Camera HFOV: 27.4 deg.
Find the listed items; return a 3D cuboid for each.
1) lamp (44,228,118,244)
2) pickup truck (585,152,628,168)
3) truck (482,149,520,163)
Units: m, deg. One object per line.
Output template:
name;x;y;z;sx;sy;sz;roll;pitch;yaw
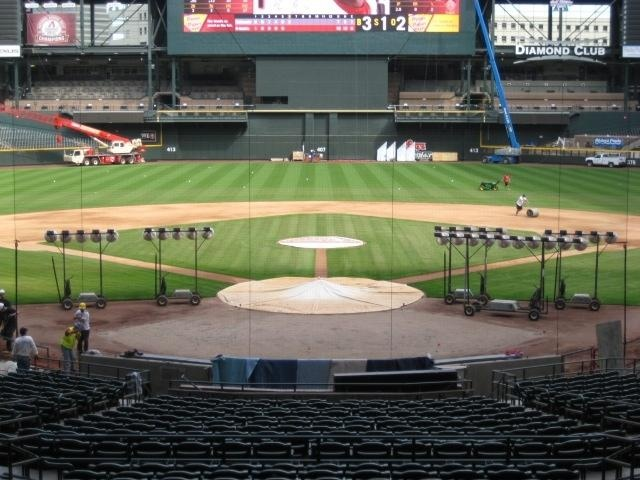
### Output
lamp;-12.039;-0.172;66.040;3.750;0.546;0.866;1;6;1
pickup truck;20.301;-5.627;92.864;2.353;0.610;1.177;2;5;21
truck;13.383;-6.147;96.171;2.142;0.811;1.280;4;6;26
